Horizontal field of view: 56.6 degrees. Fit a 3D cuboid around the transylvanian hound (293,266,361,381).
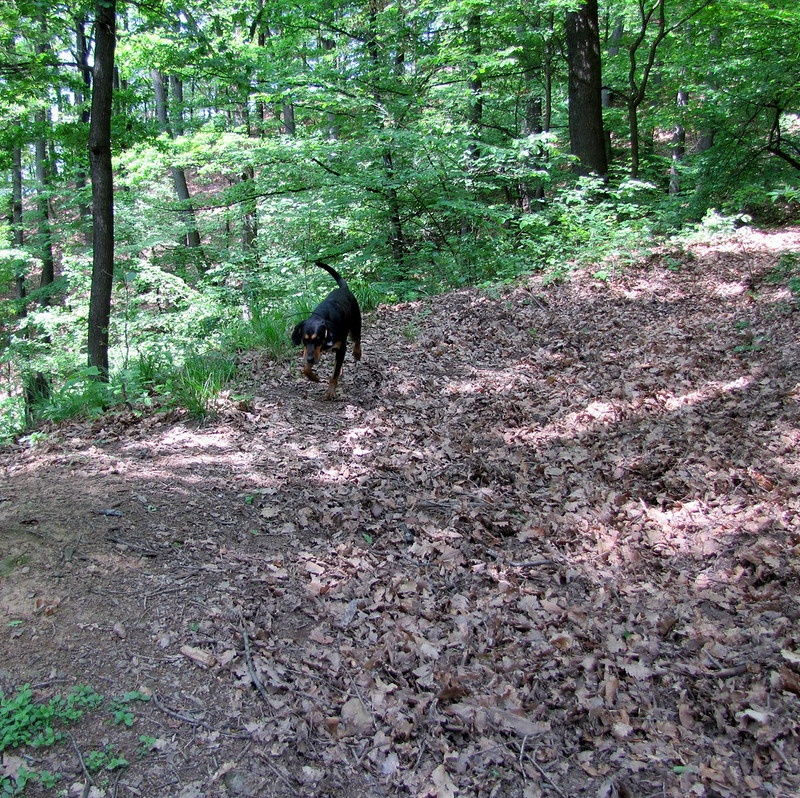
[{"bbox_3d":[-0.553,-0.848,8.156,0.555,0.831,1.772,-6,25,9],"label":"transylvanian hound"}]
